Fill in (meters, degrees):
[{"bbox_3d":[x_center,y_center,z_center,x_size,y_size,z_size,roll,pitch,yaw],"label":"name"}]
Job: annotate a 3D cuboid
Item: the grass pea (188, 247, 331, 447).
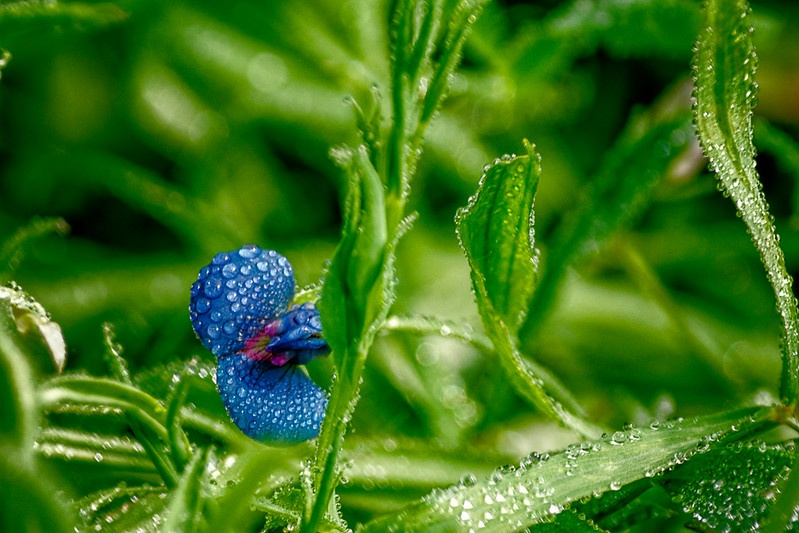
[{"bbox_3d":[-0.155,0.093,1.061,0.135,0.134,0.189,-22,58,-12],"label":"grass pea"}]
